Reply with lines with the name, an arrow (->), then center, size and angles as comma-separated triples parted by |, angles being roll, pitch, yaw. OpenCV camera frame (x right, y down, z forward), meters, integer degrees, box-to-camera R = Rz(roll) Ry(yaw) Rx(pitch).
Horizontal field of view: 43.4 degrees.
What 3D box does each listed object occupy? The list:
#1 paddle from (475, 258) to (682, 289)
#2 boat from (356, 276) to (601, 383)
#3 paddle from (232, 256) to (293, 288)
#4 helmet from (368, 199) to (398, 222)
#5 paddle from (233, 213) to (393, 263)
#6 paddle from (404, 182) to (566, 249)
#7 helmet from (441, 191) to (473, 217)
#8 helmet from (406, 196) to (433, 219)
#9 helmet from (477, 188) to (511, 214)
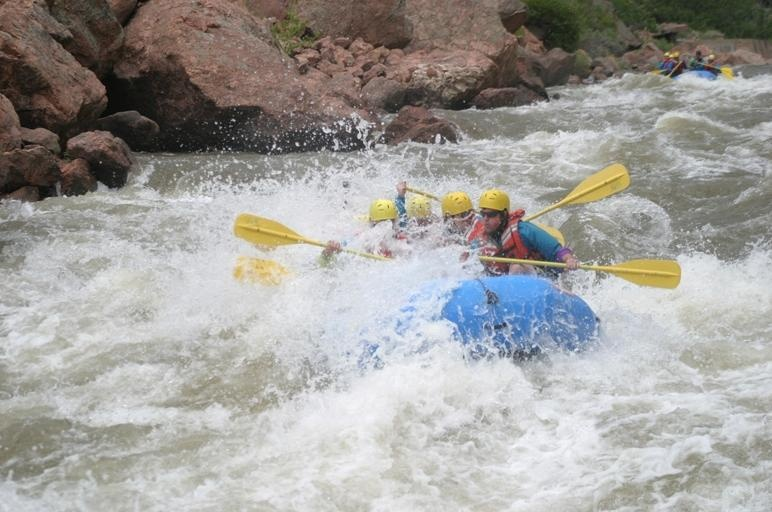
paddle -> 2.546, 0.248, 12.984 | 2.926, 0.121, 0.475 | 5, 81, 5
boat -> 1.215, 0.846, 12.537 | 2.169, 1.403, 0.638 | -7, 89, 2
paddle -> -1.736, 0.237, 13.408 | 0.642, 0.099, 0.365 | 11, 62, -1
helmet -> -0.052, -0.606, 13.624 | 0.290, 0.347, 0.266 | -9, 104, -1
paddle -> -1.061, -0.208, 13.716 | 2.875, 0.150, 0.402 | 12, 91, 4
paddle -> 1.411, -0.525, 13.904 | 2.432, 0.167, 0.433 | 27, 101, 36
helmet -> 0.978, -0.688, 13.544 | 0.399, 0.303, 0.300 | 7, 86, 0
helmet -> 0.465, -0.708, 13.940 | 0.276, 0.323, 0.358 | 4, 44, 7
helmet -> 1.452, -0.729, 13.158 | 0.368, 0.282, 0.269 | -27, 34, -35
